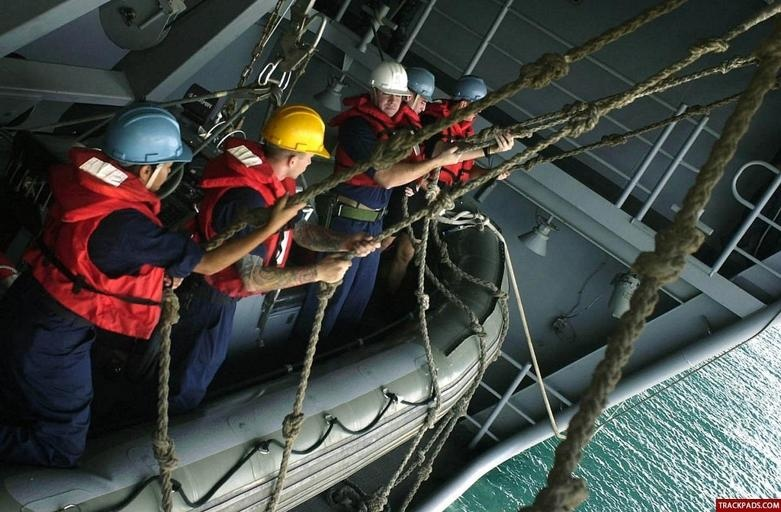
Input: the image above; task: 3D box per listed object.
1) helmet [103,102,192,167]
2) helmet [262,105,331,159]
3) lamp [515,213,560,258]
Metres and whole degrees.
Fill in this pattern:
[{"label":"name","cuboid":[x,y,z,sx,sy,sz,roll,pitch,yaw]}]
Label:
[{"label":"helmet","cuboid":[-1.397,-0.735,3.409,0.551,0.282,0.425,-9,42,-34]},{"label":"helmet","cuboid":[-0.600,-0.853,3.888,0.511,0.279,0.394,6,26,-26]},{"label":"lamp","cuboid":[1.680,-0.240,6.689,0.347,0.379,0.282,41,18,25]}]
